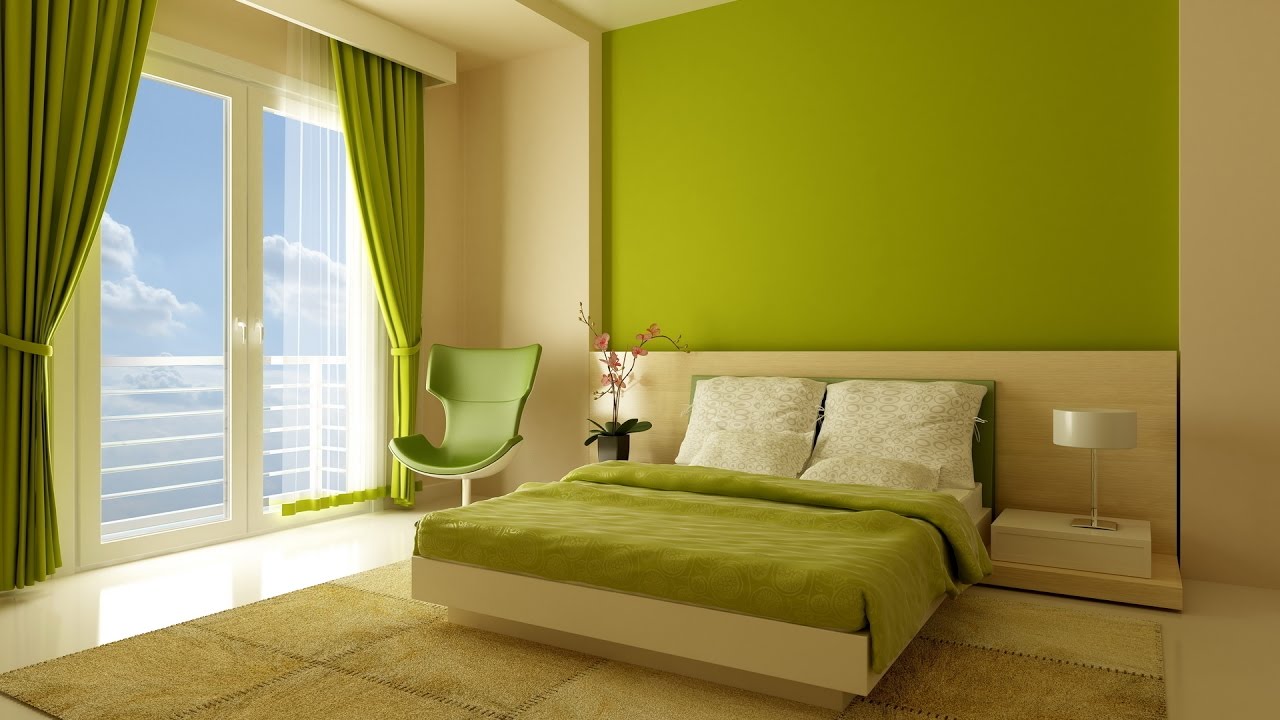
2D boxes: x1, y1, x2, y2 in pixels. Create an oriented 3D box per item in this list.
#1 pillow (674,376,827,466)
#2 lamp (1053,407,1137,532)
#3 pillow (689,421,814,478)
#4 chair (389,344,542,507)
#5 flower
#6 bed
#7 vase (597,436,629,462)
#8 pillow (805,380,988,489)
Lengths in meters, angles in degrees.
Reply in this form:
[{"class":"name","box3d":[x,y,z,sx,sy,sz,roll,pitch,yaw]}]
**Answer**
[{"class":"pillow","box3d":[0.810,0.419,5.805,0.924,0.703,0.242,4,-25,31]},{"class":"lamp","box3d":[2.938,0.692,5.151,0.473,0.765,0.417,-1,4,1]},{"class":"pillow","box3d":[0.807,0.646,5.583,0.478,0.139,0.489,2,28,22]},{"class":"chair","box3d":[-1.355,0.642,6.298,1.105,1.428,1.143,0,6,17]},{"class":"flower","box3d":[-0.009,0.138,6.564,1.316,1.320,0.747,2,3,31]},{"class":"bed","box3d":[0.789,1.023,4.872,2.488,0.962,2.348,0,0,35]},{"class":"vase","box3d":[-0.206,0.685,6.290,0.223,0.289,0.225,1,0,-21]},{"class":"pillow","box3d":[1.847,0.439,5.463,1.026,0.788,0.267,6,-19,19]}]
